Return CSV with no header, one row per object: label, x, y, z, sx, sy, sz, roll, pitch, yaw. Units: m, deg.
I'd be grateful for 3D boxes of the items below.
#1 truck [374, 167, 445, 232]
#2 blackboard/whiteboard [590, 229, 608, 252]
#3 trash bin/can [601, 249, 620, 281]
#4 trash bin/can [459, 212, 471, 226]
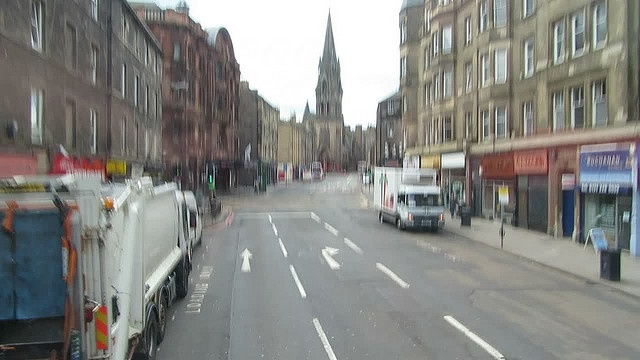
truck,6.580,1.590,45.893,2.427,3.889,7.848,-1,-3,-6
blackboard/whiteboard,16.671,3.597,35.948,1.068,1.200,0.426,-6,-15,-27
trash bin/can,15.664,4.592,32.412,0.983,1.706,0.442,2,6,26
trash bin/can,10.959,2.933,45.477,0.733,1.232,0.795,-2,4,7
